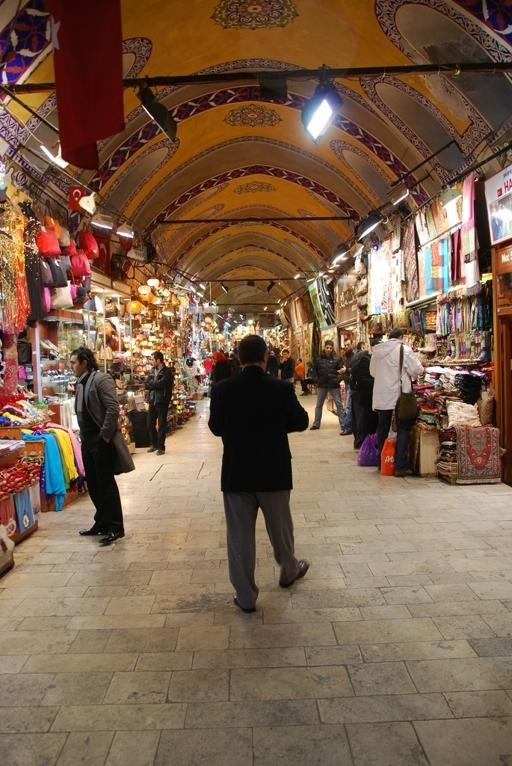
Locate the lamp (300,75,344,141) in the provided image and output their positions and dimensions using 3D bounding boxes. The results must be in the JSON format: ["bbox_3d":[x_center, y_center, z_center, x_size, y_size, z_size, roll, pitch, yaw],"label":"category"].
[{"bbox_3d":[0.680,-2.667,4.847,0.129,0.410,0.533,-10,-16,-27],"label":"lamp"}]

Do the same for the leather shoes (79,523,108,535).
[{"bbox_3d":[-1.252,1.165,3.875,0.257,0.114,0.088,2,-8,-1],"label":"leather shoes"}]

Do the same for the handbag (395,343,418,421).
[{"bbox_3d":[1.664,0.019,5.515,0.277,0.913,0.203,-1,-1,-2],"label":"handbag"}]

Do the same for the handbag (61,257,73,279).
[{"bbox_3d":[-2.224,-1.361,5.779,0.086,0.273,0.212,0,7,20],"label":"handbag"}]

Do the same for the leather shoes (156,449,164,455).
[{"bbox_3d":[-1.450,1.099,7.528,0.116,0.074,0.222,-1,-2,-13],"label":"leather shoes"}]

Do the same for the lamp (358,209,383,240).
[{"bbox_3d":[2.143,-2.949,9.077,0.153,0.575,0.577,31,-42,-16],"label":"lamp"}]

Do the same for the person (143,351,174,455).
[{"bbox_3d":[-1.533,0.337,7.788,0.405,1.611,0.711,-1,-2,-12],"label":"person"}]

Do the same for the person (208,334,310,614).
[{"bbox_3d":[0.003,0.456,2.472,0.488,1.374,0.423,-1,-2,-21],"label":"person"}]

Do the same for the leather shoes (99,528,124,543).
[{"bbox_3d":[-1.078,1.169,3.683,0.070,0.086,0.200,-12,-11,20],"label":"leather shoes"}]

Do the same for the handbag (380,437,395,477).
[{"bbox_3d":[1.499,0.871,5.626,0.207,0.424,0.151,-1,-2,-14],"label":"handbag"}]

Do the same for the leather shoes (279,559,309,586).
[{"bbox_3d":[0.213,1.092,2.798,0.075,0.099,0.225,-5,7,24],"label":"leather shoes"}]

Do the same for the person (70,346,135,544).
[{"bbox_3d":[-1.176,0.471,3.782,0.480,1.486,0.311,-3,-2,43],"label":"person"}]

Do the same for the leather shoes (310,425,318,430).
[{"bbox_3d":[1.100,0.905,9.464,0.172,0.077,0.062,2,-1,-8],"label":"leather shoes"}]

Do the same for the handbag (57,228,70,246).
[{"bbox_3d":[-2.225,-1.739,5.713,0.128,0.221,0.079,0,-12,-37],"label":"handbag"}]

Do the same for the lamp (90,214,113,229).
[{"bbox_3d":[-2.101,-2.243,6.749,0.272,0.207,0.184,3,0,-42],"label":"lamp"}]

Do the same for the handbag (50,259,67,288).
[{"bbox_3d":[-2.192,-1.221,5.469,0.122,0.324,0.257,-6,-19,6],"label":"handbag"}]

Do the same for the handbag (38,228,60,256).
[{"bbox_3d":[-2.193,-1.499,5.223,0.110,0.263,0.320,-6,19,10],"label":"handbag"}]
